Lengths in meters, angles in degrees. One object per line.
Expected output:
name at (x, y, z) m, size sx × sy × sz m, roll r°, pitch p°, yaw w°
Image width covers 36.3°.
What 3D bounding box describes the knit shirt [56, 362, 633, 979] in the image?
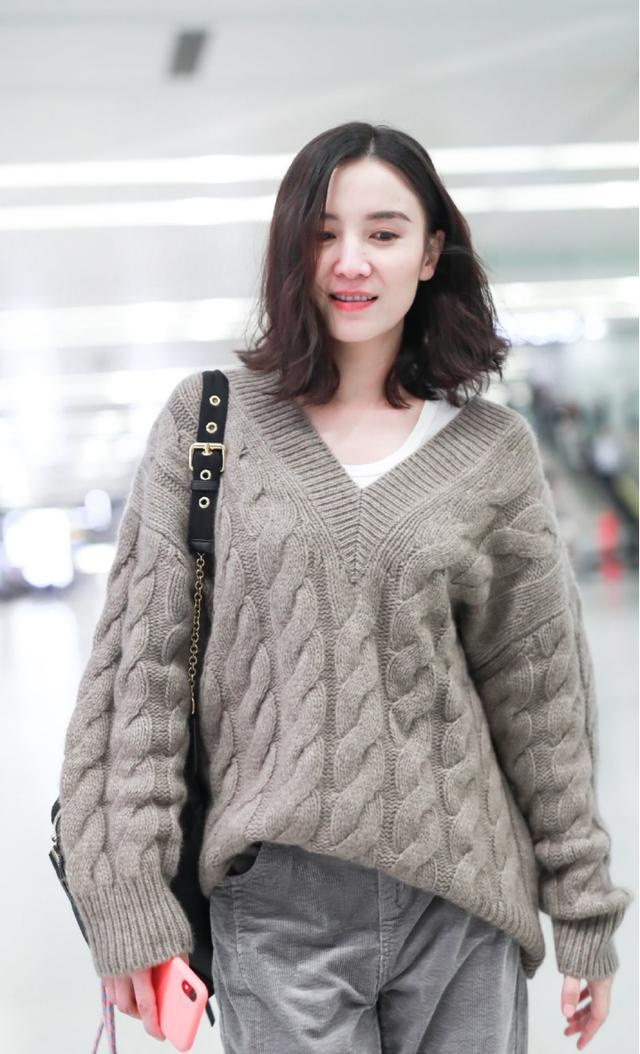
knit shirt at (0.058, 0.218, 1.407) m, size 0.850 × 0.942 × 0.255 m, roll -2°, pitch -4°, yaw -25°
